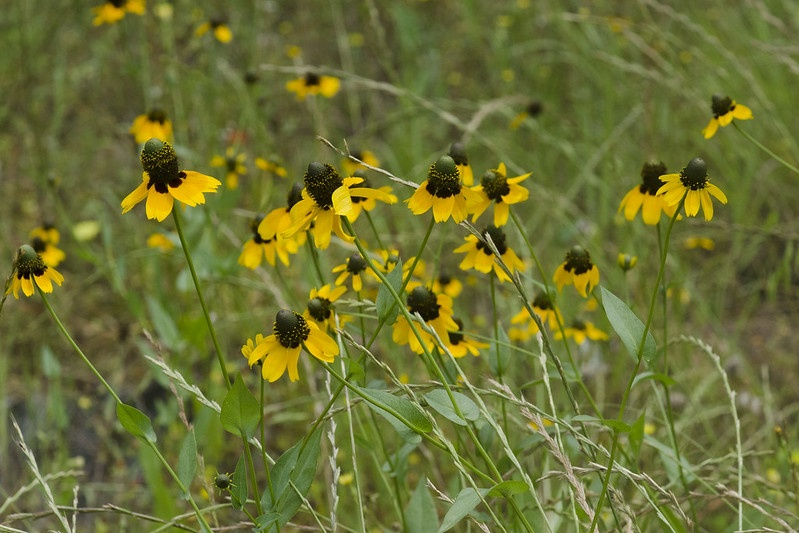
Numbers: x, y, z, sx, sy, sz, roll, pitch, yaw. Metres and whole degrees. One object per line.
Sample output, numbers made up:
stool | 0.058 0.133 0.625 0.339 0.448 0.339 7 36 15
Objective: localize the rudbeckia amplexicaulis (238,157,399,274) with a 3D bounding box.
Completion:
rudbeckia amplexicaulis | -0.322 -0.105 3.279 0.463 0.254 0.518 -19 20 29

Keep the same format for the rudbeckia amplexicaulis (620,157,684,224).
rudbeckia amplexicaulis | 1.061 -0.266 3.472 0.228 0.297 0.269 5 25 12

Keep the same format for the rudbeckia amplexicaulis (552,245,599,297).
rudbeckia amplexicaulis | 0.726 0.023 3.369 0.139 0.121 0.221 9 27 -11

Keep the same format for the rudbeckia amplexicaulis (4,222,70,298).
rudbeckia amplexicaulis | -1.906 -0.032 4.261 0.284 0.215 0.392 -14 23 -9

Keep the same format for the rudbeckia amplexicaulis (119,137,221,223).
rudbeckia amplexicaulis | -0.907 -0.327 3.175 0.313 0.216 0.320 -34 34 -13

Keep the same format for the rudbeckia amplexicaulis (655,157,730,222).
rudbeckia amplexicaulis | 1.169 -0.340 3.240 0.292 0.190 0.288 20 23 40

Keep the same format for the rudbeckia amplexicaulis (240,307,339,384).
rudbeckia amplexicaulis | -0.415 0.305 3.084 0.272 0.160 0.279 -30 30 -17

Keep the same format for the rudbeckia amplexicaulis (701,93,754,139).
rudbeckia amplexicaulis | 1.434 -0.679 3.589 0.209 0.108 0.191 -5 23 -41
